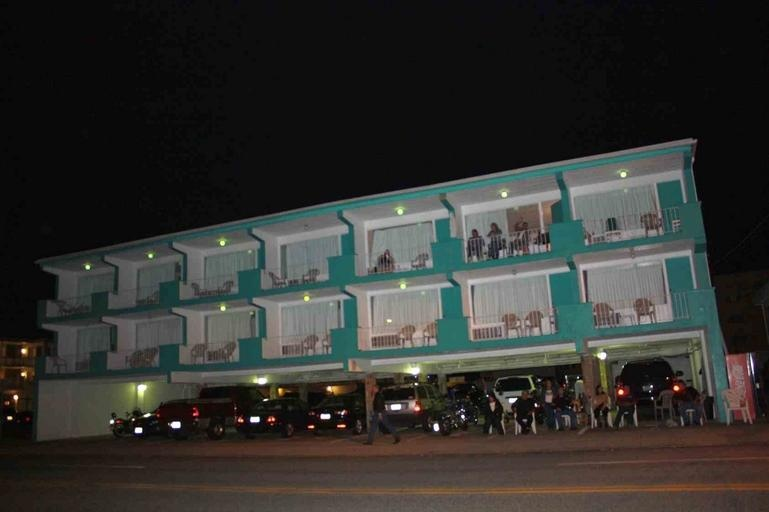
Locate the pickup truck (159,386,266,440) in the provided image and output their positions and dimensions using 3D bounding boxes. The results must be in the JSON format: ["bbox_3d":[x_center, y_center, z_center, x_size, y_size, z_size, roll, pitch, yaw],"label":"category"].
[{"bbox_3d":[-8.482,7.594,35.084,2.402,1.571,4.380,-5,-7,30],"label":"pickup truck"}]

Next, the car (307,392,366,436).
[{"bbox_3d":[-2.317,7.790,34.829,2.946,1.992,1.511,-1,-18,-11],"label":"car"}]

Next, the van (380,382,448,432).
[{"bbox_3d":[1.481,6.997,33.009,1.902,1.914,4.583,-4,-7,31],"label":"van"}]

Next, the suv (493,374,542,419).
[{"bbox_3d":[6.523,6.695,35.349,1.660,1.459,2.764,-5,-19,19],"label":"suv"}]
